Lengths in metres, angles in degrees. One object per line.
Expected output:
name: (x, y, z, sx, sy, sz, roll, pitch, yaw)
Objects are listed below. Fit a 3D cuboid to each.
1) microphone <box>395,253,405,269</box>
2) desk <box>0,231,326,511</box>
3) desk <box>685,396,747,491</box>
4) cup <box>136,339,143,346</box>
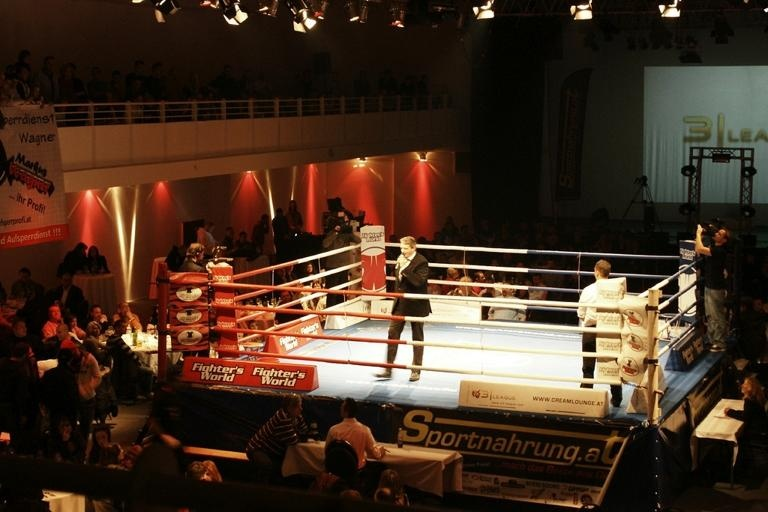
microphone: (0.226, 0.096, 8.517, 0.065, 0.121, 0.161, 0, -21, -13)
desk: (-2.735, 1.245, 8.007, 3.234, 2.007, 3.263, 1, 3, 16)
desk: (4.238, 2.192, 8.407, 0.767, 0.708, 2.002, 2, 6, 24)
cup: (-4.038, 1.477, 11.049, 0.068, 0.087, 0.088, -1, 0, 13)
